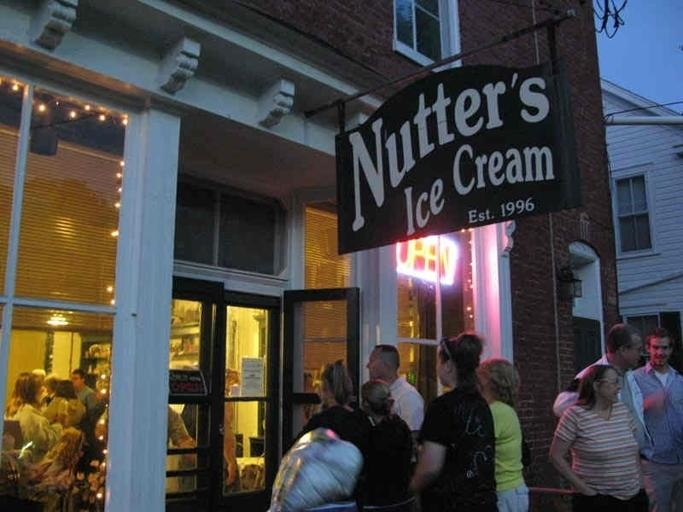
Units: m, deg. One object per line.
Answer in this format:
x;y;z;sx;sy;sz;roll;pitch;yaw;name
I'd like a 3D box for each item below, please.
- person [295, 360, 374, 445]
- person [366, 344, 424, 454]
-0.016;1.041;4.388;0.579;0.766;0.417;2;-17;-5;person
0.427;1.198;5.506;0.397;0.860;0.798;2;-1;-26;person
